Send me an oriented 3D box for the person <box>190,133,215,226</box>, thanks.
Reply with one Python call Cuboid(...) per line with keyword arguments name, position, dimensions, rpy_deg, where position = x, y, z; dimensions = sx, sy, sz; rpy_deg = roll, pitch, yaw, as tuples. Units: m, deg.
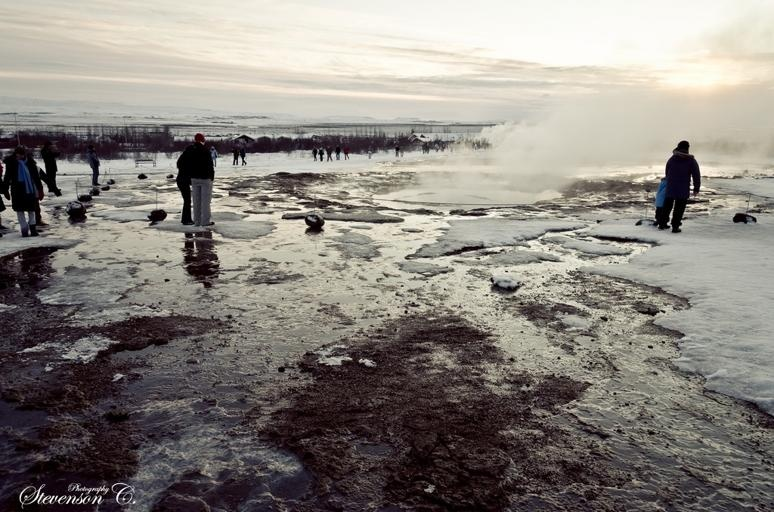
Cuboid(name="person", position=(-4.553, -1.857, 13.450), dimensions=(0.596, 2.276, 0.809), rpy_deg=(-6, 22, -16))
